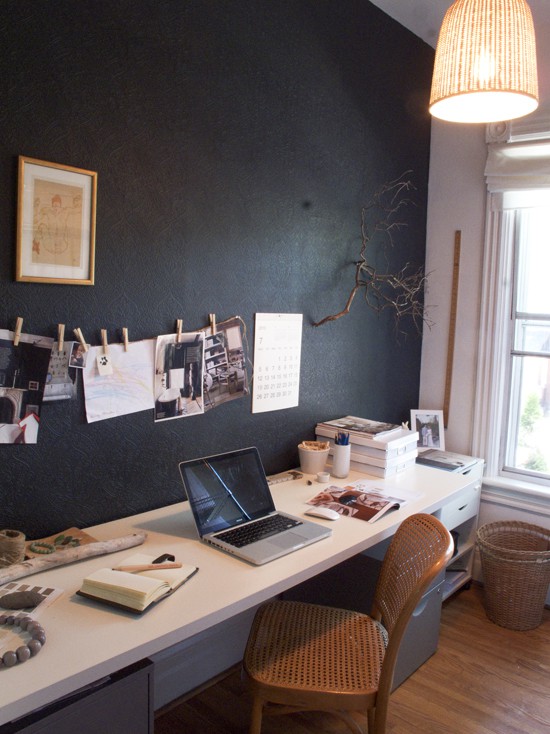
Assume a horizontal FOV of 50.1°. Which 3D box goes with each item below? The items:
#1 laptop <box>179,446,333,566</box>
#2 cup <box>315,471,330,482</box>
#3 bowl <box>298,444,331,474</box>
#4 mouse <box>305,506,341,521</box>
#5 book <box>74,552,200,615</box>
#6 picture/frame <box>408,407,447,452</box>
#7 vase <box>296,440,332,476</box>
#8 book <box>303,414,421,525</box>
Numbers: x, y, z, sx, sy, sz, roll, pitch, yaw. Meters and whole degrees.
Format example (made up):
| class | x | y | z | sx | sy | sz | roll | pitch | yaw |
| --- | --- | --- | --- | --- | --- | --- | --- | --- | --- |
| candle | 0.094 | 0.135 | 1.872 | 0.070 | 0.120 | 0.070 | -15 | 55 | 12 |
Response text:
| class | x | y | z | sx | sy | sz | roll | pitch | yaw |
| --- | --- | --- | --- | --- | --- | --- | --- | --- | --- |
| laptop | -0.074 | 0.372 | 1.600 | 0.304 | 0.192 | 0.278 | 5 | 10 | 42 |
| cup | 0.174 | 0.394 | 2.122 | 0.036 | 0.021 | 0.036 | -1 | 1 | 0 |
| bowl | 0.145 | 0.345 | 2.219 | 0.108 | 0.084 | 0.114 | 1 | -3 | 0 |
| mouse | 0.144 | 0.436 | 1.768 | 0.068 | 0.020 | 0.042 | 3 | -1 | 31 |
| book | -0.290 | 0.447 | 1.262 | 0.172 | 0.051 | 0.227 | 5 | 6 | 20 |
| picture/frame | 0.765 | 0.316 | 2.929 | 0.233 | 0.293 | 0.011 | 3 | -13 | -13 |
| vase | 0.144 | 0.346 | 2.217 | 0.113 | 0.090 | 0.120 | 1 | -2 | 1 |
| book | 0.369 | 0.383 | 2.354 | 0.289 | 0.168 | 0.279 | -2 | 6 | -39 |
